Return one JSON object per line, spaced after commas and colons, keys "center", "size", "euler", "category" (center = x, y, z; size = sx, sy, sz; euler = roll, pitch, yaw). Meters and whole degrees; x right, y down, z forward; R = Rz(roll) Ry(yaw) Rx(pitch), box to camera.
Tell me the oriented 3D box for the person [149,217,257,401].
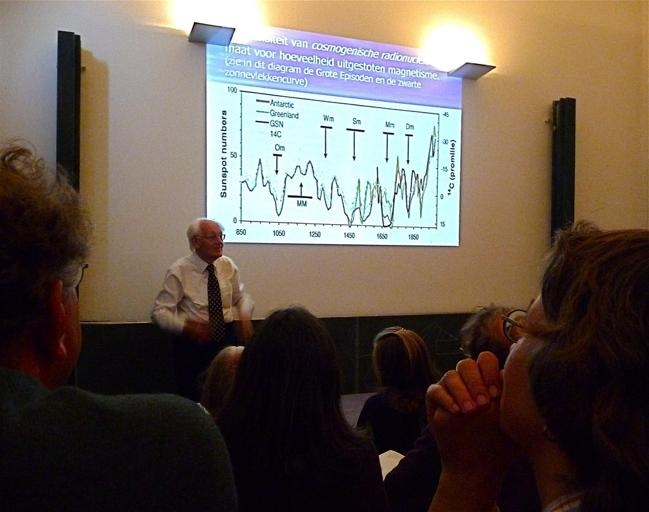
{"center": [-0.849, 0.681, 4.217], "size": [0.730, 1.920, 0.524], "euler": [-10, 17, -32], "category": "person"}
